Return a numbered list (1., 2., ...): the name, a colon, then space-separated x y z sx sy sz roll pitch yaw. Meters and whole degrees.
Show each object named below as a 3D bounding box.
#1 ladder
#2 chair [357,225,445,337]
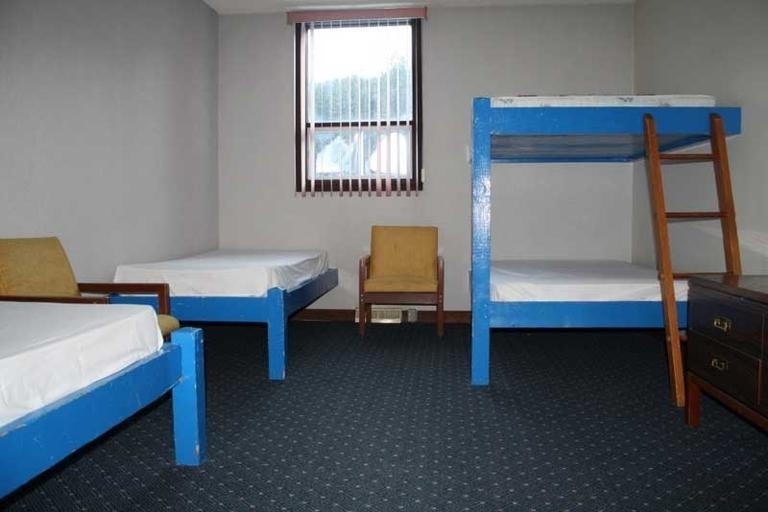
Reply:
1. ladder: 2.370 -0.360 4.327 0.525 0.160 2.171 0 49 22
2. chair: 0.221 0.222 6.337 1.041 1.390 1.124 1 4 4
